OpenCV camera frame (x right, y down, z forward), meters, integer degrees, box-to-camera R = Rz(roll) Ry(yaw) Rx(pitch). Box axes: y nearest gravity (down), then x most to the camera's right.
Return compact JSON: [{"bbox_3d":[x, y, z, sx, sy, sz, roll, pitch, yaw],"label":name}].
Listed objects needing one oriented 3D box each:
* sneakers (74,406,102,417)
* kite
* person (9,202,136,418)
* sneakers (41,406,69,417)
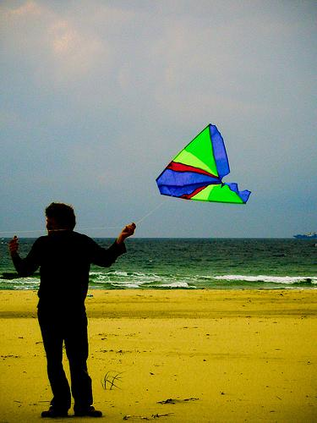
[{"bbox_3d":[-0.727,2.099,7.486,0.305,0.162,0.116,0,-8,-4],"label":"sneakers"},{"bbox_3d":[0.531,-0.451,8.074,0.754,0.766,0.083,6,31,7],"label":"kite"},{"bbox_3d":[-0.959,1.048,7.443,1.148,2.248,0.511,2,-1,-14],"label":"person"},{"bbox_3d":[-1.089,2.127,7.466,0.243,0.127,0.118,12,-22,0],"label":"sneakers"}]
